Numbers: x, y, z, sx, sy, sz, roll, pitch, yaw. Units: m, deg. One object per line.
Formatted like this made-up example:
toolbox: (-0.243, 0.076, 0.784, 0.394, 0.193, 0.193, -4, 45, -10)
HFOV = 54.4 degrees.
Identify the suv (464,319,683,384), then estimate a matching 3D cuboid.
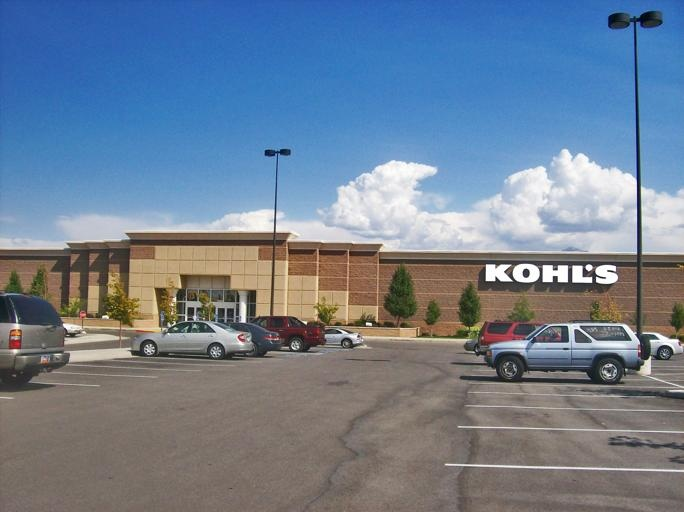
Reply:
suv: (7.410, 3.158, 22.387, 4.409, 1.737, 2.232, 1, -8, 6)
